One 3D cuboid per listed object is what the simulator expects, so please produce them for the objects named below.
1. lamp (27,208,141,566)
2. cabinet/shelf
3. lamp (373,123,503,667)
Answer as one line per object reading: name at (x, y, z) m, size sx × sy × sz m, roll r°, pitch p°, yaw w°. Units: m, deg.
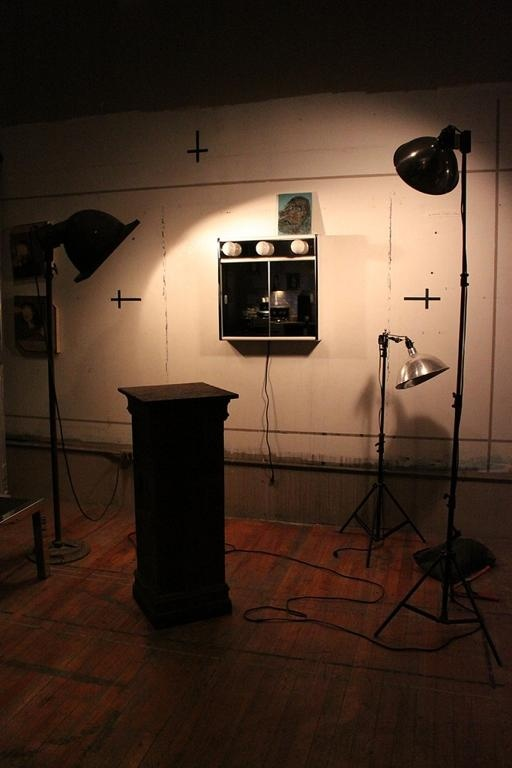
lamp at (-1.072, 0.039, 4.338) m, size 0.533 × 2.107 × 1.795 m, roll -3°, pitch 8°, yaw -17°
cabinet/shelf at (0.115, -0.651, 4.613) m, size 0.692 × 0.727 × 0.280 m, roll 0°, pitch 3°, yaw 17°
lamp at (0.968, -0.069, 3.531) m, size 0.680 × 2.489 × 1.370 m, roll 1°, pitch 8°, yaw 10°
